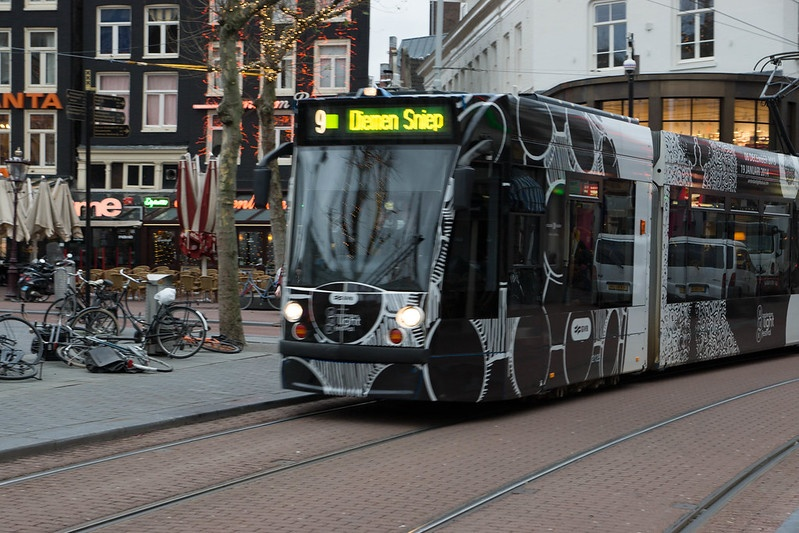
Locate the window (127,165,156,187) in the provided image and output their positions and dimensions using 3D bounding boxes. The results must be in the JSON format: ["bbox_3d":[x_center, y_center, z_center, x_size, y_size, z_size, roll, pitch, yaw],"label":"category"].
[{"bbox_3d":[-11.877,-4.166,42.280,1.189,0.745,0.109,1,-4,11],"label":"window"}]

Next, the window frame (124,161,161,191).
[{"bbox_3d":[-11.822,-4.153,42.221,1.592,0.998,0.196,0,3,13],"label":"window frame"}]

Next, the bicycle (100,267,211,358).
[{"bbox_3d":[-4.546,0.846,16.234,2.521,1.271,1.019,1,2,13],"label":"bicycle"}]
